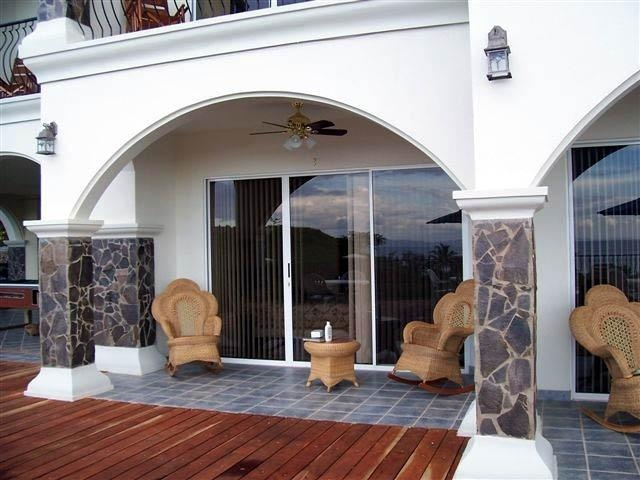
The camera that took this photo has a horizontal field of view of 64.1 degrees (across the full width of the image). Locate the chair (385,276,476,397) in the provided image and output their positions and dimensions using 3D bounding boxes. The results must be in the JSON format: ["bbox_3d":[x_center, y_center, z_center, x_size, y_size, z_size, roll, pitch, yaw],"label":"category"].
[{"bbox_3d":[1.366,1.153,6.252,0.987,1.325,0.799,-2,-3,14],"label":"chair"}]

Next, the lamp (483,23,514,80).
[{"bbox_3d":[1.457,-1.571,4.209,0.208,0.423,0.118,-3,3,16],"label":"lamp"}]

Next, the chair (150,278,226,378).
[{"bbox_3d":[-1.876,1.187,7.204,0.839,1.293,0.968,1,-4,-39],"label":"chair"}]
